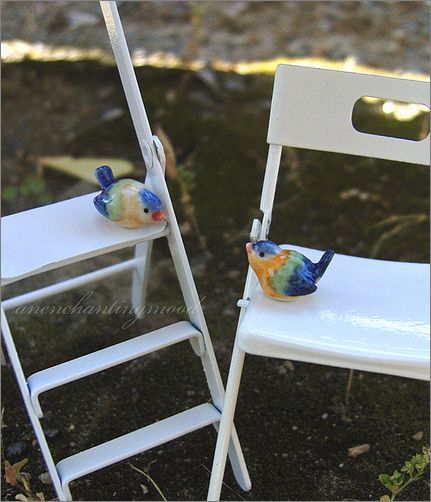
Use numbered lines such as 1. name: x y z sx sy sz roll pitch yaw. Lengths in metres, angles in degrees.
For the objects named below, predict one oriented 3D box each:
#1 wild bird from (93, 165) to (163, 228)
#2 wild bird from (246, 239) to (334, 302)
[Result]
1. wild bird: -0.186 -0.119 1.289 0.180 0.110 0.124 21 40 33
2. wild bird: 0.142 0.037 1.159 0.177 0.092 0.110 9 16 3
